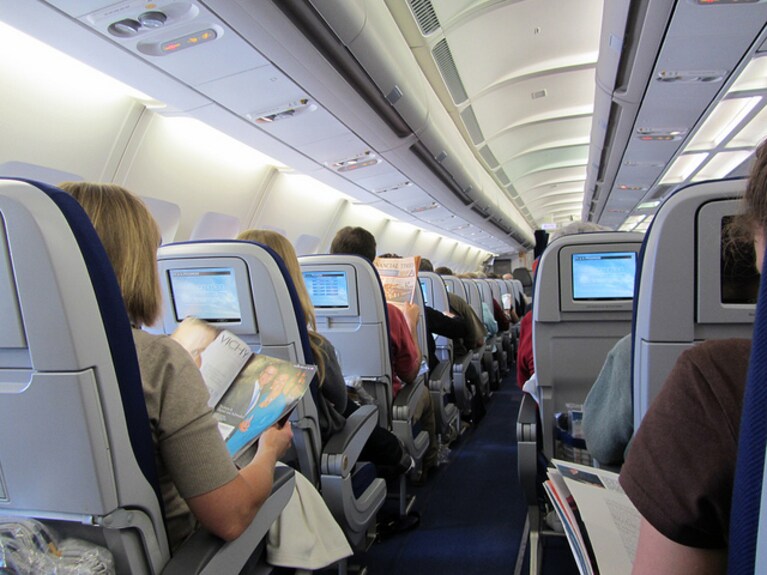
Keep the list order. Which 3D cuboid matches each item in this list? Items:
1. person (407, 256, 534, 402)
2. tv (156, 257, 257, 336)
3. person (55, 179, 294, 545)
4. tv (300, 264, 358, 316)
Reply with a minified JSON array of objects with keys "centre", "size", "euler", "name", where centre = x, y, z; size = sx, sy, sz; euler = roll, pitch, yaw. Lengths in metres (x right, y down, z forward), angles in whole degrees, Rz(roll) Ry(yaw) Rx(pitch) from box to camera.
[{"centre":[0.718,0.289,4.873],"size":[0.919,1.434,1.111],"euler":[2,10,35],"name":"person"},{"centre":[-0.683,0.023,2.070],"size":[0.263,0.278,0.141],"euler":[1,14,18],"name":"tv"},{"centre":[-0.757,0.226,1.863],"size":[0.690,1.155,0.920],"euler":[-2,-1,29],"name":"person"},{"centre":[-0.297,0.000,2.901],"size":[0.236,0.232,0.126],"euler":[2,17,18],"name":"tv"}]
